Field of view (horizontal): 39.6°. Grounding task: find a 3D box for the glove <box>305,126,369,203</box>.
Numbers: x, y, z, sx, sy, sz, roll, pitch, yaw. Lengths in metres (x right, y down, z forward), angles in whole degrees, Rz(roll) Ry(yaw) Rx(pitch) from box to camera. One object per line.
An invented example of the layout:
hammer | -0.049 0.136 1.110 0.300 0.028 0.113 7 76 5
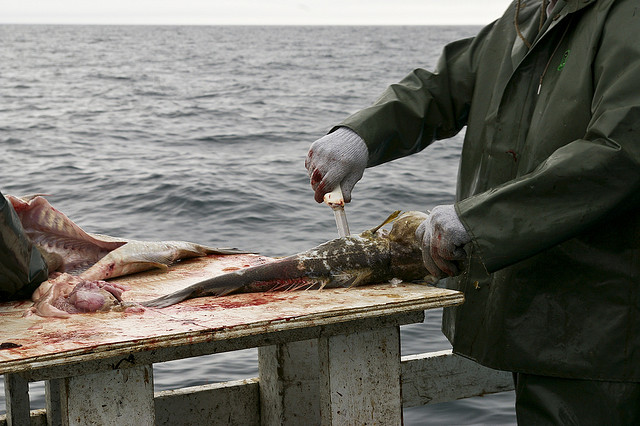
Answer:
glove | 0.130 -0.349 6.404 0.457 0.546 0.244 -1 9 1

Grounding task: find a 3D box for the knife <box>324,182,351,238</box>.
knife | 0.162 0.031 6.382 0.143 0.354 0.156 -5 15 29
